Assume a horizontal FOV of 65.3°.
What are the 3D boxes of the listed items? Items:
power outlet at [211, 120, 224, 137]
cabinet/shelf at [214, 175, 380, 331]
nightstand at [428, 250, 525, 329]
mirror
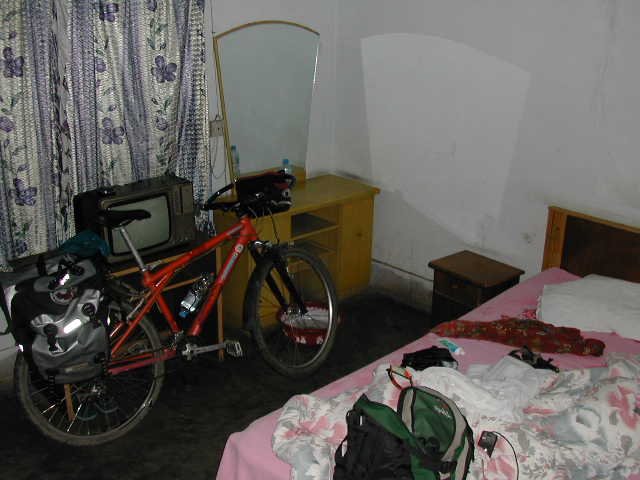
[{"bbox_3d":[-0.755,-0.835,3.704,0.104,0.096,0.034,-22,36,-38],"label":"power outlet"},{"bbox_3d":[-0.192,0.102,3.667,1.005,0.827,0.412,-22,32,-37],"label":"cabinet/shelf"},{"bbox_3d":[1.115,0.466,3.684,0.424,0.614,0.525,-10,24,-26],"label":"nightstand"},{"bbox_3d":[-0.394,-1.114,3.959,0.241,1.156,0.891,18,26,36],"label":"mirror"}]
